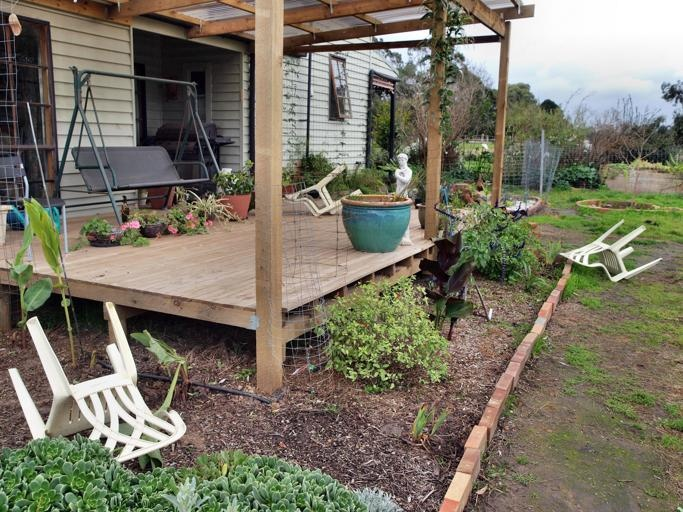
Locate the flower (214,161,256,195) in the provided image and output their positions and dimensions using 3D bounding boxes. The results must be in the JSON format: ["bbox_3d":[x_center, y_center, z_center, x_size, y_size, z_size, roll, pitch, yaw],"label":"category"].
[{"bbox_3d":[-1.532,-1.044,7.011,0.510,0.338,0.337,-5,14,-15],"label":"flower"}]

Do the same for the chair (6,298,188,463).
[{"bbox_3d":[-1.362,0.801,2.651,0.753,0.481,1.018,-16,52,-40],"label":"chair"}]

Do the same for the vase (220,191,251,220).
[{"bbox_3d":[-1.467,-0.682,6.934,0.242,0.357,0.489,5,15,25],"label":"vase"}]

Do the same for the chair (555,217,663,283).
[{"bbox_3d":[3.831,-0.201,6.889,0.952,0.761,2.117,9,17,36],"label":"chair"}]

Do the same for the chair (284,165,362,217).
[{"bbox_3d":[-0.305,-0.928,7.782,1.158,1.019,1.039,7,10,3],"label":"chair"}]
